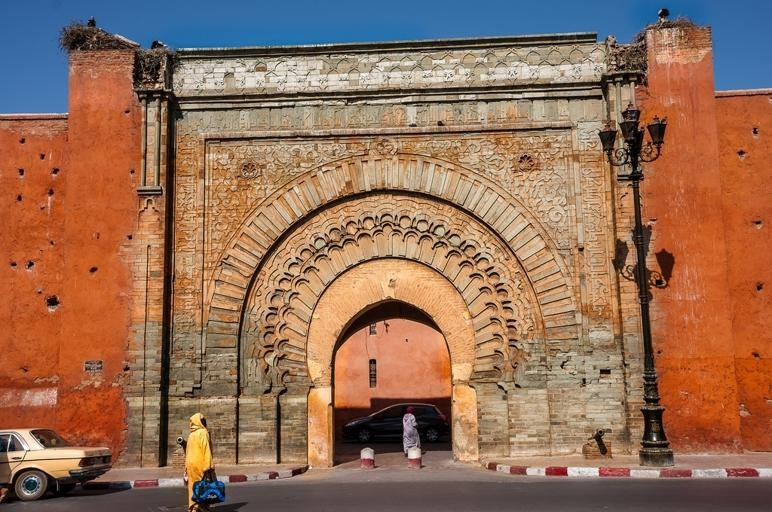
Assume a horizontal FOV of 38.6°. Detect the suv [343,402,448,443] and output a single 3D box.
[{"bbox_3d":[0.218,5.085,34.706,3.505,1.115,1.598,1,-19,2],"label":"suv"}]
